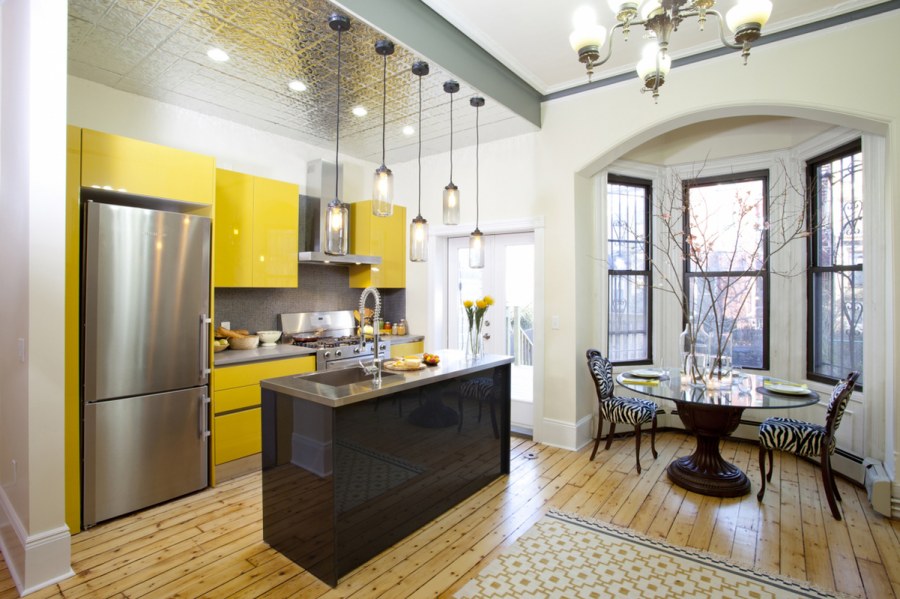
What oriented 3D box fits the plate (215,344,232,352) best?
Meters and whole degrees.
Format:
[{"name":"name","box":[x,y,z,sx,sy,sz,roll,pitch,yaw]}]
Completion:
[{"name":"plate","box":[-2.301,0.474,6.087,0.117,0.068,0.291,-1,1,-10]}]

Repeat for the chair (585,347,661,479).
[{"name":"chair","box":[1.779,1.101,6.245,0.738,1.107,0.678,3,5,38]}]

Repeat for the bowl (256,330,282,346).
[{"name":"bowl","box":[-1.979,0.412,6.549,0.247,0.147,0.349,-1,2,-21]}]

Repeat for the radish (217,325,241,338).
[{"name":"radish","box":[-2.246,0.338,6.123,0.228,0.091,0.136,-1,2,-19]}]

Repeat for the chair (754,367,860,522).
[{"name":"chair","box":[3.247,1.270,5.542,0.722,1.156,0.661,4,4,25]}]

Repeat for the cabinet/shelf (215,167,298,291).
[{"name":"cabinet/shelf","box":[-2.033,-0.705,6.246,0.417,1.259,1.282,-4,-6,39]}]

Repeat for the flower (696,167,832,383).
[{"name":"flower","box":[3.188,-0.319,6.611,1.156,2.177,0.863,0,2,5]}]

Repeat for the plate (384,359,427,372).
[{"name":"plate","box":[-0.404,0.581,5.370,0.378,0.071,0.361,0,1,-3]}]

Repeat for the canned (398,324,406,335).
[{"name":"canned","box":[-0.599,0.369,7.661,0.112,0.139,0.116,0,2,-3]}]
